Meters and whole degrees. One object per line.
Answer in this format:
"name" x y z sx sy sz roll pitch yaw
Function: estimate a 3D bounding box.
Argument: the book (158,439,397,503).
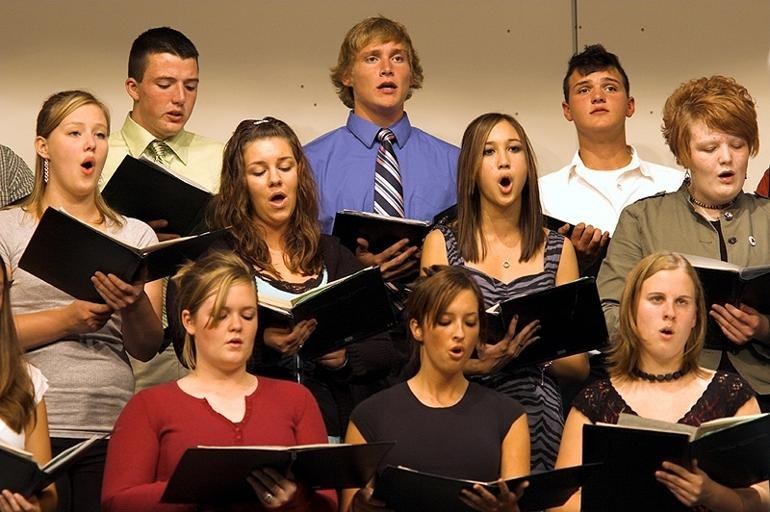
"book" -0.367 0.737 2.756 0.761 0.259 0.210 -1 7 -19

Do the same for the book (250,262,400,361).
"book" -0.221 0.245 3.284 0.428 0.162 0.349 -22 -16 -9

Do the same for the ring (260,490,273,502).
"ring" -0.396 0.814 2.759 0.027 0.029 0.029 0 18 0

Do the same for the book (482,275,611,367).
"book" 0.741 0.395 3.446 0.509 0.372 0.420 -13 -42 23

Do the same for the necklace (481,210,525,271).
"necklace" 0.528 -0.044 3.627 0.150 0.289 0.073 0 -17 1

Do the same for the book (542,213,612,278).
"book" 0.914 -0.098 3.871 0.259 0.134 0.349 30 1 -31
